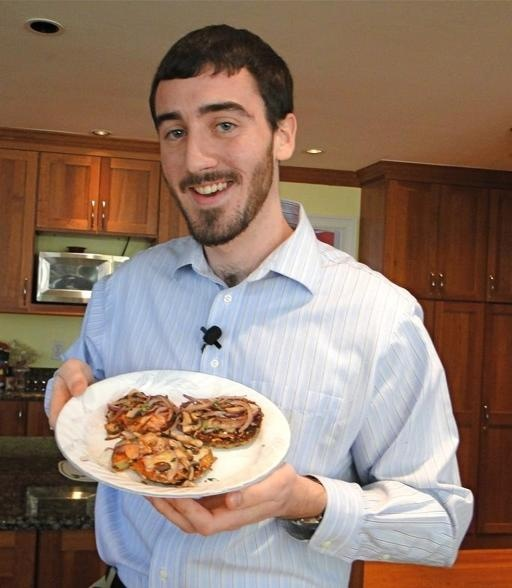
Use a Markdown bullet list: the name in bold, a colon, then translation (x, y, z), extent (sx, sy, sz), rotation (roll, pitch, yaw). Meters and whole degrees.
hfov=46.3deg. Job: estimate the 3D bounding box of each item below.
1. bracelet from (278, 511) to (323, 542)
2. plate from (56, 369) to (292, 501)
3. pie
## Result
- **bracelet**: translation (0.079, 0.402, 1.025), extent (0.071, 0.035, 0.053), rotation (22, 3, 21)
- **plate**: translation (-0.125, 0.201, 0.908), extent (0.341, 0.148, 0.292), rotation (2, -4, -10)
- **pie**: translation (-0.123, 0.225, 0.940), extent (0.178, 0.030, 0.140), rotation (-3, 21, -22)
